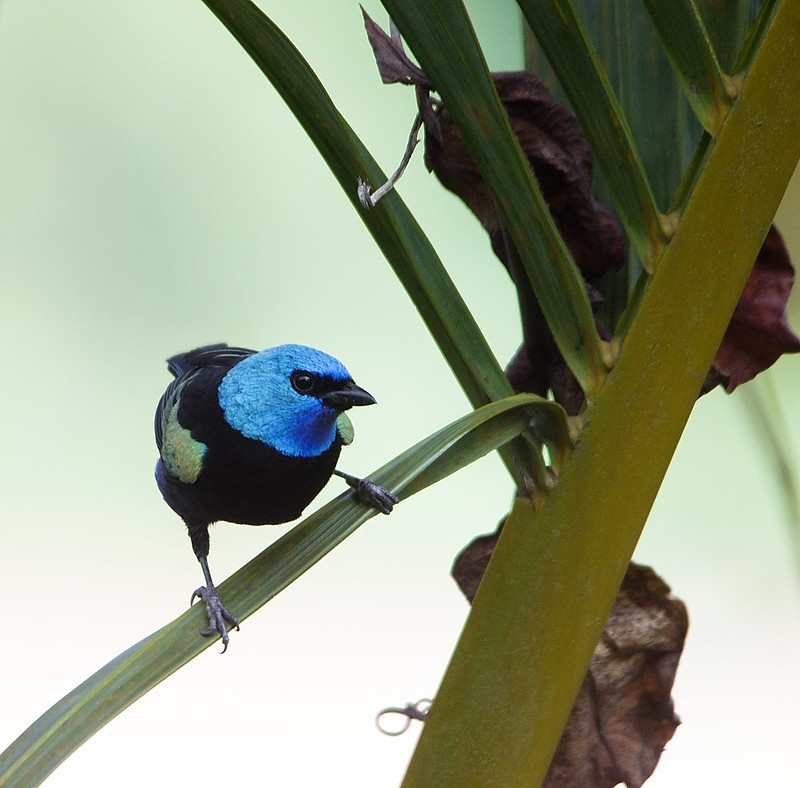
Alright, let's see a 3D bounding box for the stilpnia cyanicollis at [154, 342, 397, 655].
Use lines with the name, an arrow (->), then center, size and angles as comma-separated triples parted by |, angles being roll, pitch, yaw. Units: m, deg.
stilpnia cyanicollis -> -0.259, 0.064, 2.207 | 0.292, 0.586, 0.328 | -16, -48, -19
